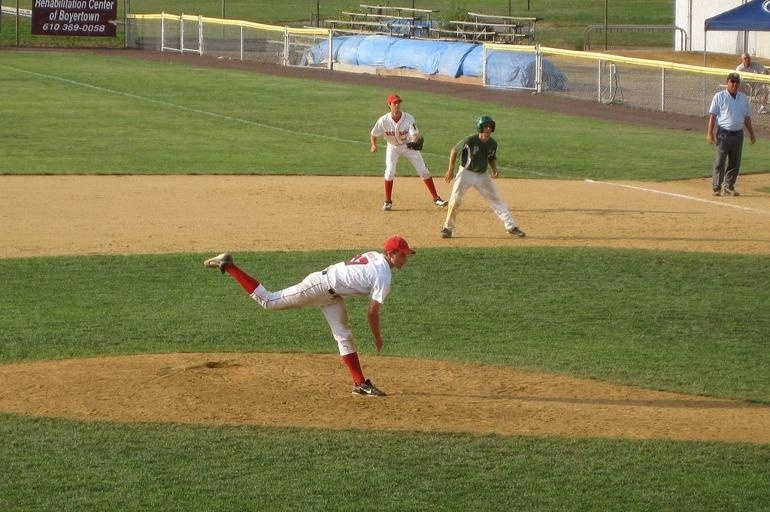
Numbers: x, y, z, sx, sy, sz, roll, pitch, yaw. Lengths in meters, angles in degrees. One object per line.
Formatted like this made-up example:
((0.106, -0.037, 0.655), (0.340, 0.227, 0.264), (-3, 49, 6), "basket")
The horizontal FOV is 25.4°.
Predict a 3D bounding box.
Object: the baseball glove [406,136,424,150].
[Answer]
((0.818, -3.070, 46.792), (0.328, 0.186, 0.419), (-3, -13, -39), "baseball glove")

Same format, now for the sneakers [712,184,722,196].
((9.460, -1.864, 48.671), (0.142, 0.164, 0.387), (-1, -35, 6), "sneakers")

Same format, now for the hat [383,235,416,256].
((0.310, -0.214, 39.170), (0.679, 0.346, 0.421), (2, 10, 1), "hat")

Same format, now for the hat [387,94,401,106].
((0.221, -4.295, 46.749), (0.388, 0.239, 0.500), (-1, -8, -34), "hat")

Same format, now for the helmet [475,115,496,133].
((2.623, -3.426, 44.513), (0.388, 0.405, 0.297), (5, 10, 11), "helmet")

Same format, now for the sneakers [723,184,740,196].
((9.859, -1.873, 48.832), (0.554, 0.229, 0.206), (18, 25, 35), "sneakers")

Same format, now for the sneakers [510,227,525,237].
((3.582, -0.624, 45.559), (0.473, 0.210, 0.198), (14, 42, 16), "sneakers")

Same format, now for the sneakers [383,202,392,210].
((0.076, -1.384, 47.578), (0.247, 0.158, 0.401), (1, 4, 3), "sneakers")
